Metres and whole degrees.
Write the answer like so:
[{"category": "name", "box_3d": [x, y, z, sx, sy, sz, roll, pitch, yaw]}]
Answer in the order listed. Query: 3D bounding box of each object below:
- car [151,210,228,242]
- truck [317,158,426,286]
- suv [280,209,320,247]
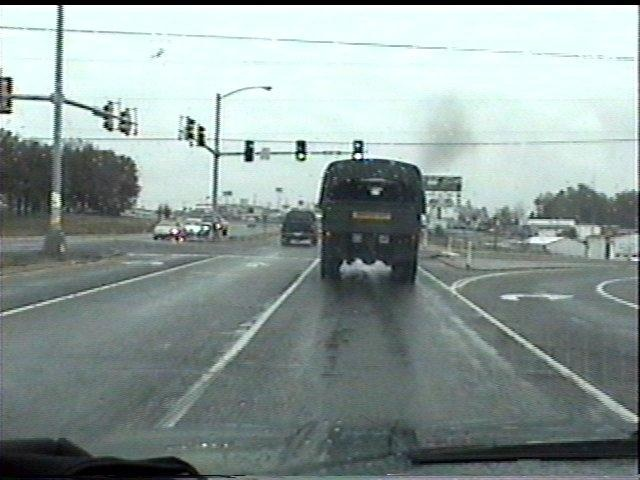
[{"category": "car", "box_3d": [-7.216, -0.654, 46.839, 3.732, 0.824, 2.271, -1, 3, -19]}, {"category": "truck", "box_3d": [1.291, -0.465, 21.294, 2.741, 3.202, 1.980, 3, 17, 0]}, {"category": "suv", "box_3d": [-0.957, -0.520, 40.589, 1.737, 1.862, 1.060, 2, 17, -2]}]
